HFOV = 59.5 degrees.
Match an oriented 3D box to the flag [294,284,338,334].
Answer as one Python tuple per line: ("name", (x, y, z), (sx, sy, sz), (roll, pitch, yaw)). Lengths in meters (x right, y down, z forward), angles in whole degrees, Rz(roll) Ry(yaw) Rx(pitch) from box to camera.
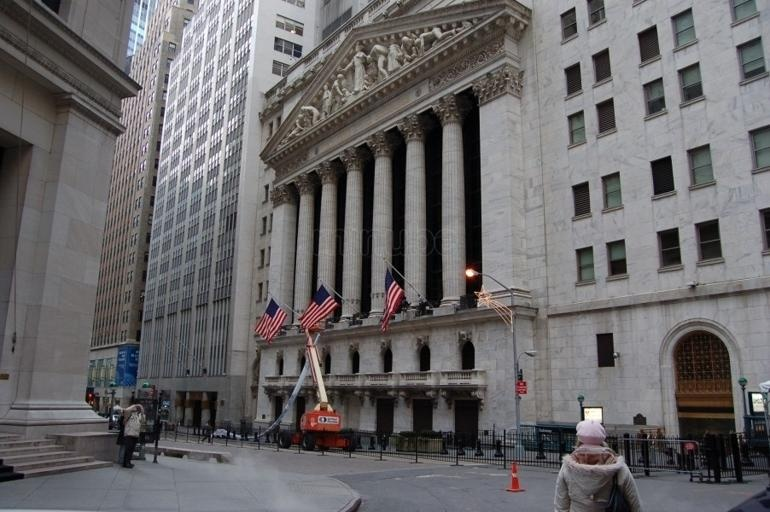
("flag", (-6.209, 4.945, 61.273), (4.817, 5.534, 0.779), (-17, -46, 19))
